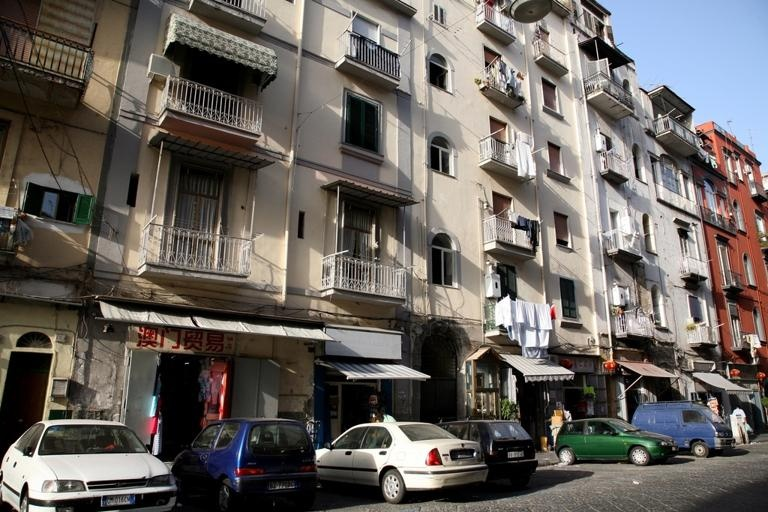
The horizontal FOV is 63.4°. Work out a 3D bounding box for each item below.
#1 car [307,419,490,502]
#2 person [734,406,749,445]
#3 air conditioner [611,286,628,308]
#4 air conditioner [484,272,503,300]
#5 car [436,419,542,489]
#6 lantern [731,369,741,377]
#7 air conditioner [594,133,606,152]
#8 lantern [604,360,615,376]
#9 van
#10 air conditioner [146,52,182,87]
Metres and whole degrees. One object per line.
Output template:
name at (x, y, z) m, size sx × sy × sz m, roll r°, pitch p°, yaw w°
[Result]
car at (0.365, 6.009, 18.831) m, size 4.801 × 1.631 × 2.281 m, roll -14°, pitch -23°, yaw 42°
person at (17.977, 8.544, 31.462) m, size 0.515 × 1.684 × 1.310 m, roll -12°, pitch -21°, yaw 34°
air conditioner at (12.687, 2.090, 33.469) m, size 0.846 × 1.113 × 0.363 m, roll 7°, pitch -18°, yaw -21°
air conditioner at (4.994, 1.340, 28.407) m, size 0.411 × 1.181 × 0.900 m, roll -18°, pitch -25°, yaw 41°
car at (3.596, 6.303, 20.209) m, size 1.674 × 1.369 × 2.837 m, roll 10°, pitch -14°, yaw -35°
lantern at (21.910, 7.235, 38.905) m, size 0.437 × 0.451 × 0.454 m, roll -2°, pitch -15°, yaw -9°
air conditioner at (12.426, -6.555, 35.865) m, size 0.364 × 1.224 × 1.099 m, roll -9°, pitch -4°, yaw 43°
lantern at (11.591, 5.627, 31.735) m, size 0.573 × 0.622 × 0.569 m, roll 5°, pitch -8°, yaw -31°
van at (13.093, 7.610, 27.178) m, size 3.597 × 2.215 × 2.181 m, roll -16°, pitch -22°, yaw 42°
air conditioner at (-7.856, -6.673, 22.286) m, size 0.593 × 1.003 × 1.111 m, roll -23°, pitch -24°, yaw 32°
